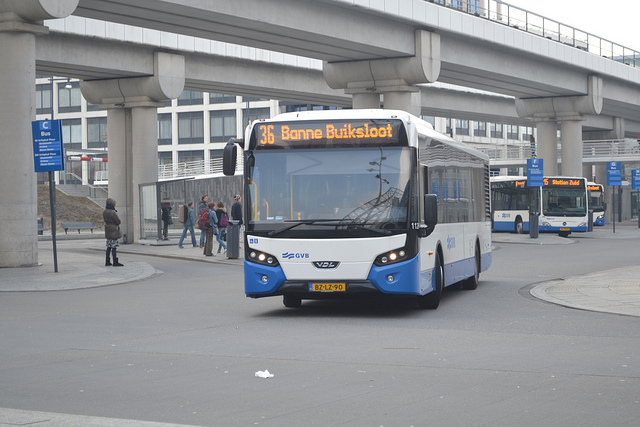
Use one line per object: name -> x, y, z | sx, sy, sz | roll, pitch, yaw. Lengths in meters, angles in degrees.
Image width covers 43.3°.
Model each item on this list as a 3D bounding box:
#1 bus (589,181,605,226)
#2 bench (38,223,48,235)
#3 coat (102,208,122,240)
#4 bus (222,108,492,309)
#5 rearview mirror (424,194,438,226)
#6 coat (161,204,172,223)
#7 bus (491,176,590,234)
bus -> 20.298, -1.188, 59.089 | 1.530, 2.375, 5.141 | 2, 11, 22
bench -> -17.220, 1.001, 50.079 | 0.629, 0.426, 0.668 | 2, 4, 5
coat -> -6.608, 0.333, 25.596 | 0.489, 1.000, 0.638 | -1, 2, -17
bus -> 1.496, -0.048, 16.646 | 5.830, 4.114, 2.788 | -2, 2, -42
rearview mirror -> 2.100, -0.075, 15.360 | 0.234, 0.551, 0.236 | -1, 2, -1
coat -> -7.076, -0.009, 36.842 | 0.379, 0.809, 0.476 | -1, 2, -12
bus -> 13.049, -0.496, 48.314 | 2.699, 3.458, 5.834 | -2, 2, -36
